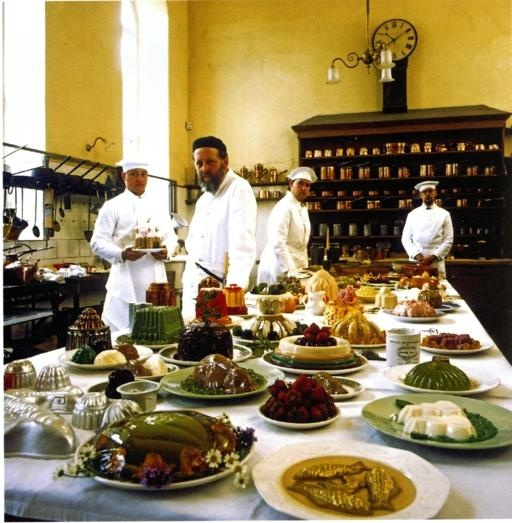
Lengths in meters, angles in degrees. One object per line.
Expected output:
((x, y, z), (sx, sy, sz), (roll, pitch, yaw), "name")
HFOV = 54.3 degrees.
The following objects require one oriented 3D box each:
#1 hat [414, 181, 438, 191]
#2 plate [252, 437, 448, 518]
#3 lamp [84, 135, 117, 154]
((2.186, -0.960, 6.403), (0.232, 0.067, 0.242), (-5, 6, 5), "hat")
((0.147, 0.334, 0.787), (0.294, 0.027, 0.253), (2, 6, 10), "plate")
((-2.017, -1.514, 6.425), (0.279, 0.124, 0.159), (0, 5, 0), "lamp")
